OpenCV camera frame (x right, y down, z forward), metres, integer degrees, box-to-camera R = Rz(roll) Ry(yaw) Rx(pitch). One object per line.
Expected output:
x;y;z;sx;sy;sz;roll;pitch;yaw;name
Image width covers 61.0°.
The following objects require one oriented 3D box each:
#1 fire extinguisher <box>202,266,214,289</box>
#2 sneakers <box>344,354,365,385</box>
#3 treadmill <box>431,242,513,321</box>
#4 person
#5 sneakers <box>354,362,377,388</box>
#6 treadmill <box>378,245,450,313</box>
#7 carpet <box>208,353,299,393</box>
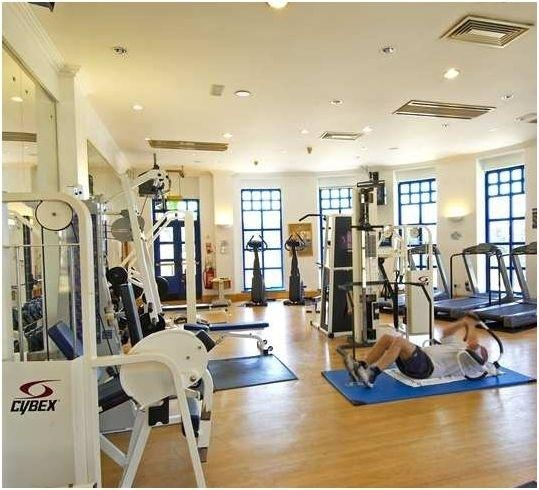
-1.534;0.832;11.379;0.305;0.464;0.123;2;2;1;fire extinguisher
0.892;1.319;4.839;0.195;0.355;0.273;0;6;19;sneakers
3.767;0.635;8.657;1.741;1.259;0.805;-1;2;-33;treadmill
1.690;1.162;5.056;1.590;0.886;0.536;7;-4;-1;person
0.990;1.352;4.773;0.122;0.281;0.095;-34;-2;11;sneakers
3.287;0.675;9.840;1.201;1.200;0.690;-3;5;16;treadmill
-0.237;1.520;5.595;0.972;0.072;1.169;-3;5;-13;carpet
